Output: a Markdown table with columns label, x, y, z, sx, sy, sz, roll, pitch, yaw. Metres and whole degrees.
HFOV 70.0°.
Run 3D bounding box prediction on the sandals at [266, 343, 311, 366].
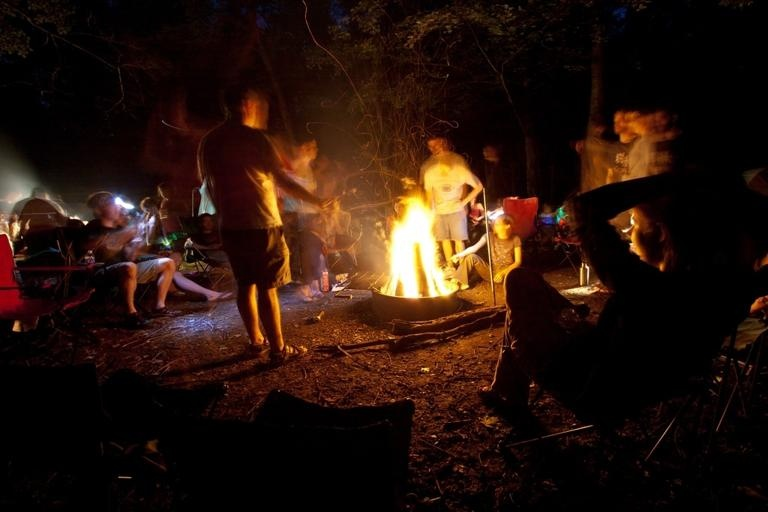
| label | x | y | z | sx | sy | sz | roll | pitch | yaw |
| --- | --- | --- | --- | --- | --- | --- | --- | --- | --- |
| sandals | -1.317 | 1.301 | 7.553 | 0.484 | 0.162 | 0.231 | -16 | 19 | -40 |

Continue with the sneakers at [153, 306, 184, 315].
| label | x | y | z | sx | sy | sz | roll | pitch | yaw |
| --- | --- | --- | --- | --- | --- | --- | --- | --- | --- |
| sneakers | -3.666 | 0.936 | 9.333 | 0.470 | 0.170 | 0.164 | 0 | 3 | -19 |

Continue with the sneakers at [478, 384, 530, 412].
| label | x | y | z | sx | sy | sz | roll | pitch | yaw |
| --- | --- | --- | --- | --- | --- | --- | --- | --- | --- |
| sneakers | 1.411 | 1.712 | 6.627 | 0.610 | 0.241 | 0.226 | -1 | -1 | 42 |

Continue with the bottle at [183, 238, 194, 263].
| label | x | y | z | sx | sy | sz | roll | pitch | yaw |
| --- | --- | --- | --- | --- | --- | --- | --- | --- | --- |
| bottle | -4.075 | -0.114 | 11.478 | 0.140 | 0.558 | 0.357 | -6 | -6 | -45 |

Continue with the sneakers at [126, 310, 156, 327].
| label | x | y | z | sx | sy | sz | roll | pitch | yaw |
| --- | --- | --- | --- | --- | --- | --- | --- | --- | --- |
| sneakers | -3.980 | 1.007 | 8.807 | 0.452 | 0.166 | 0.218 | 0 | 6 | 31 |
